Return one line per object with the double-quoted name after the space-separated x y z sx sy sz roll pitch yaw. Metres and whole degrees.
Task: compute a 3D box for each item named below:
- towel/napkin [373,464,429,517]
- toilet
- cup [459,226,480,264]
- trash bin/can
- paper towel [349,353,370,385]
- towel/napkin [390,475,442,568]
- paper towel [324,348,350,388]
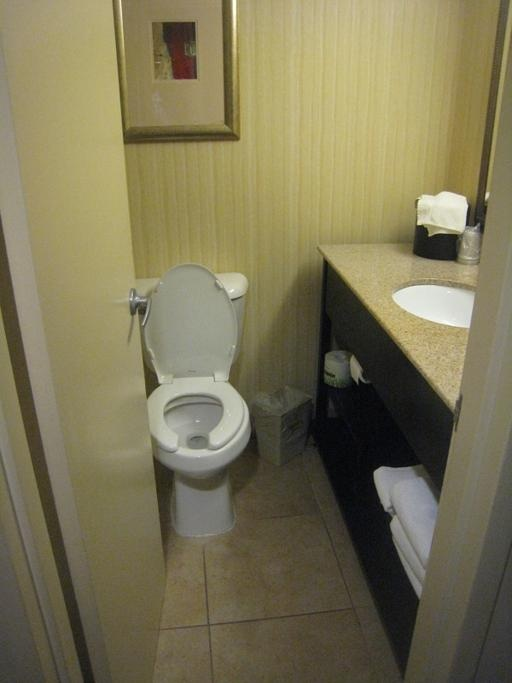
0.349 0.335 1.210 0.126 0.052 0.151 -15 -11 14 "towel/napkin"
-0.197 0.219 1.750 0.368 0.910 0.590 -3 25 -2 "toilet"
0.697 -0.307 1.673 0.064 0.109 0.040 7 26 20 "cup"
0.092 0.305 2.208 0.282 0.339 0.213 -23 36 -30 "trash bin/can"
0.301 0.085 1.557 0.051 0.081 0.088 -2 51 -5 "paper towel"
0.321 0.362 1.041 0.032 0.097 0.135 -30 27 31 "towel/napkin"
0.308 0.101 1.957 0.093 0.132 0.112 6 24 10 "paper towel"
